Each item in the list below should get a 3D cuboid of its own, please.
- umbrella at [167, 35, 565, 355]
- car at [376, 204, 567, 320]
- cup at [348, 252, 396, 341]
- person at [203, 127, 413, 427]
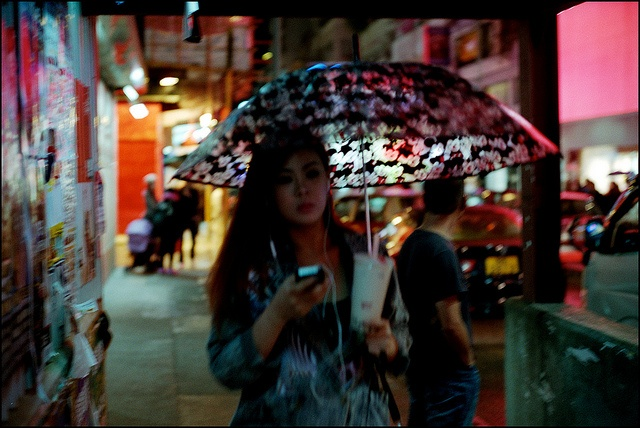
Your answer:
[{"bbox_3d":[0.333,-0.162,3.510,1.712,1.065,1.566,-5,-2,2],"label":"umbrella"},{"bbox_3d":[1.993,0.708,8.457,1.801,1.639,3.450,-1,0,-3],"label":"car"},{"bbox_3d":[0.262,0.428,2.828,0.209,0.463,0.174,0,10,3],"label":"cup"},{"bbox_3d":[-0.059,0.383,2.910,1.045,1.531,0.543,-2,10,-12],"label":"person"}]
